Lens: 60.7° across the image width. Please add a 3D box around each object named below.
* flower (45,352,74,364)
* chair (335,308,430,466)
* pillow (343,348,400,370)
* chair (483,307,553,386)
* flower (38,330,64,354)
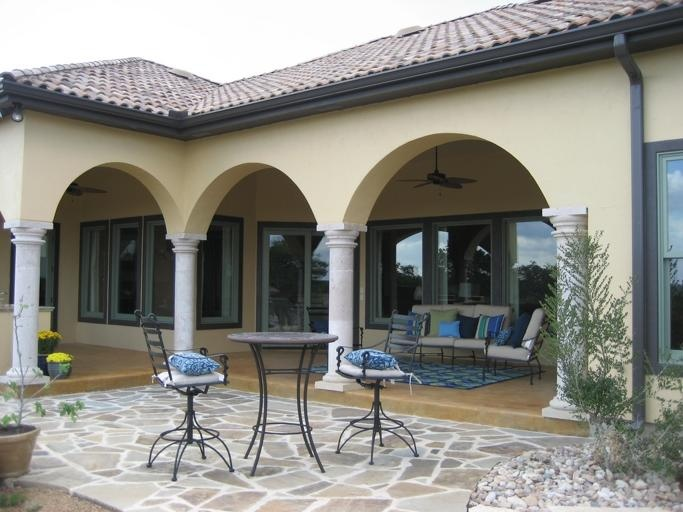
[{"bbox_3d":[-4.057,1.476,8.397,0.225,0.075,0.220,2,0,25],"label":"flower"},{"bbox_3d":[0.400,1.330,6.122,0.856,1.359,0.908,2,1,-24],"label":"chair"},{"bbox_3d":[0.326,1.027,5.825,0.491,0.242,0.497,-2,1,-14],"label":"pillow"},{"bbox_3d":[2.614,1.237,8.928,1.029,1.330,1.173,4,1,35],"label":"chair"},{"bbox_3d":[-4.381,1.300,8.812,0.343,0.314,0.331,0,-2,16],"label":"flower"}]
